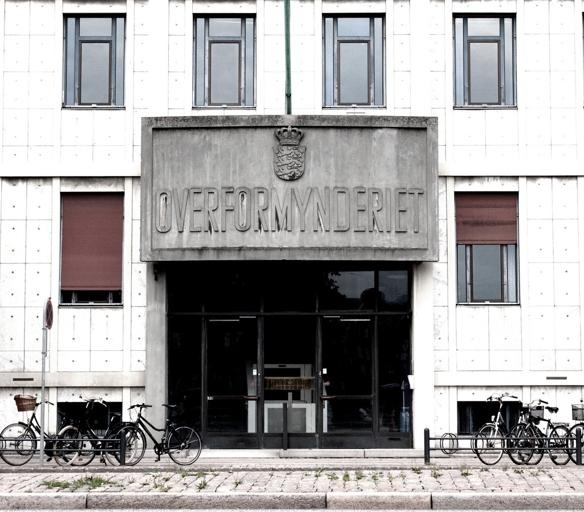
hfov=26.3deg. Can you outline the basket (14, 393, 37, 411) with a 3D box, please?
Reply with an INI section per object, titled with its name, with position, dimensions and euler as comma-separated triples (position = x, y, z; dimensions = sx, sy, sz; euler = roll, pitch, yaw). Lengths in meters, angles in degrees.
[basket]
position = -5.504, 3.023, 25.739
dimensions = 0.350, 0.313, 0.333
euler = 1, -5, -12
